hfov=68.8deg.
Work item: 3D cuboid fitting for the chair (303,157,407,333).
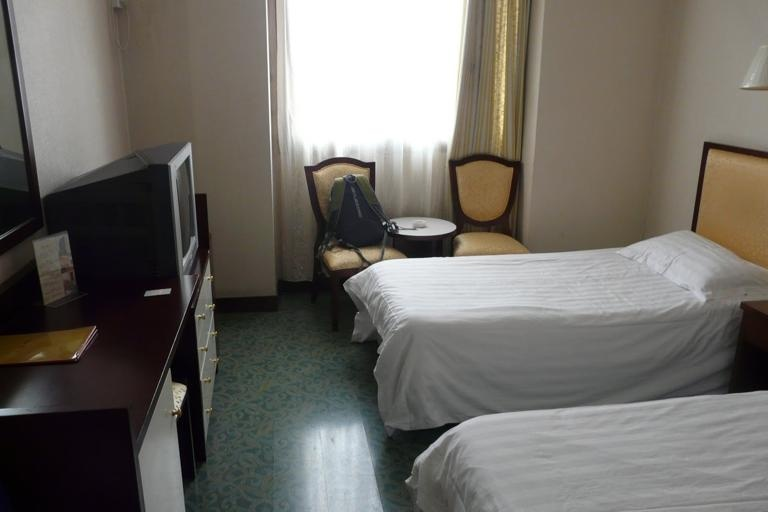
[{"bbox_3d":[-0.519,-0.032,4.759,0.866,1.407,0.822,-10,-2,33],"label":"chair"}]

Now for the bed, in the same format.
[{"bbox_3d":[0.919,0.623,2.826,1.023,0.465,1.058,-7,31,-8],"label":"bed"}]

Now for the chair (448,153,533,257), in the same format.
[{"bbox_3d":[0.817,-0.407,4.497,0.599,0.670,0.710,1,22,6],"label":"chair"}]

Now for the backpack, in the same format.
[{"bbox_3d":[-0.232,-0.357,4.416,0.539,0.604,0.307,-4,-8,-17],"label":"backpack"}]

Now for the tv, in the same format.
[{"bbox_3d":[-1.315,-0.206,2.895,0.633,0.508,0.657,-1,23,-10],"label":"tv"}]

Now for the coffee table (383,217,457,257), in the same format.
[{"bbox_3d":[0.304,-0.151,4.447,0.371,0.296,0.382,-3,15,-7],"label":"coffee table"}]
